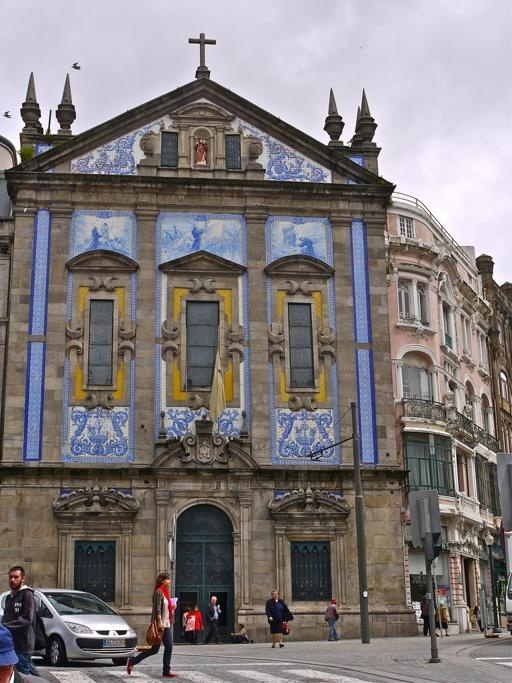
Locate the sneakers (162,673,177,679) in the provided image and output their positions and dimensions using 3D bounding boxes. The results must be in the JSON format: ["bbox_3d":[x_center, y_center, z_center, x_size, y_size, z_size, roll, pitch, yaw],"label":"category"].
[{"bbox_3d":[-1.345,5.178,16.748,0.228,0.093,0.077,1,-5,-11],"label":"sneakers"}]

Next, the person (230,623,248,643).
[{"bbox_3d":[-0.461,8.473,31.396,0.525,0.604,0.799,-1,-21,-2],"label":"person"}]

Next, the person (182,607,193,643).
[{"bbox_3d":[-1.943,8.235,31.300,0.287,0.977,0.849,1,-21,-7],"label":"person"}]

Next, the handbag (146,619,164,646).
[{"bbox_3d":[-1.623,4.678,17.308,0.257,0.392,0.298,1,-21,-5],"label":"handbag"}]

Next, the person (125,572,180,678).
[{"bbox_3d":[-1.686,4.596,17.636,0.699,1.801,1.546,1,-21,-6],"label":"person"}]
